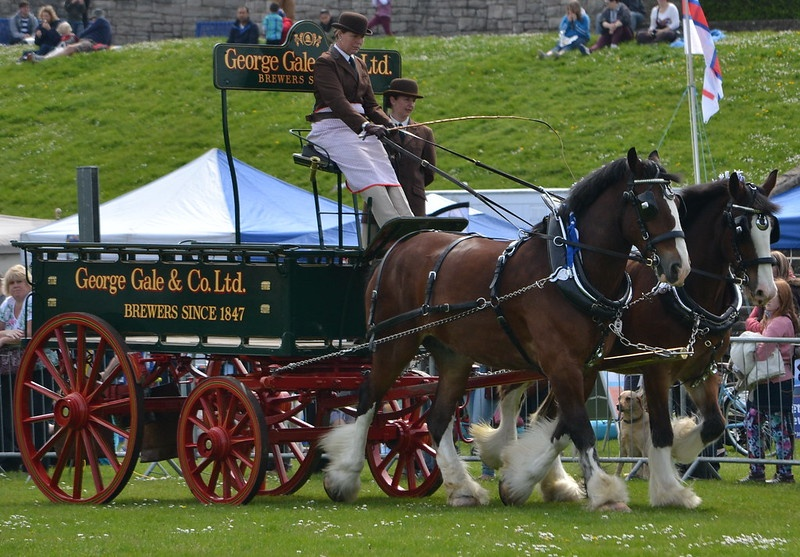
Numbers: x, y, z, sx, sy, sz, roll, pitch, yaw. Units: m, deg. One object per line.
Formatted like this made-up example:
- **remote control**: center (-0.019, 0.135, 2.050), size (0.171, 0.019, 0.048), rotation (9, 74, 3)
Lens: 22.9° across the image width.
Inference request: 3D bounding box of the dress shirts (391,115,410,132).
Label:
- **dress shirts**: center (0.015, -2.667, 33.204), size (0.391, 0.266, 0.373), rotation (1, -1, -7)

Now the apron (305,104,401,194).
- **apron**: center (-0.786, -2.105, 32.347), size (1.058, 1.736, 0.523), rotation (-34, 0, -14)

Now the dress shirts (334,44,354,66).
- **dress shirts**: center (-0.914, -3.709, 32.485), size (0.302, 0.089, 0.264), rotation (35, 8, 33)

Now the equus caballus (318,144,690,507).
- **equus caballus**: center (1.863, 0.774, 31.175), size (5.402, 5.562, 0.931), rotation (-1, 7, 16)

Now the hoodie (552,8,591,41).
- **hoodie**: center (4.935, -7.107, 55.144), size (0.843, 0.951, 1.010), rotation (2, 2, 38)

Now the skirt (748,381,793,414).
- **skirt**: center (6.291, 1.959, 33.529), size (0.603, 0.430, 0.606), rotation (-2, -2, 35)

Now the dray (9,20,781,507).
- **dray**: center (-0.002, -0.159, 35.796), size (6.903, 8.694, 13.345), rotation (-4, 12, -8)
